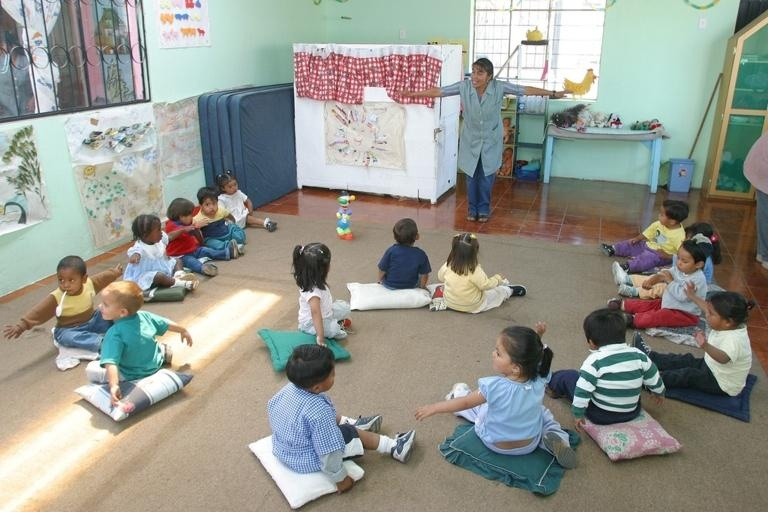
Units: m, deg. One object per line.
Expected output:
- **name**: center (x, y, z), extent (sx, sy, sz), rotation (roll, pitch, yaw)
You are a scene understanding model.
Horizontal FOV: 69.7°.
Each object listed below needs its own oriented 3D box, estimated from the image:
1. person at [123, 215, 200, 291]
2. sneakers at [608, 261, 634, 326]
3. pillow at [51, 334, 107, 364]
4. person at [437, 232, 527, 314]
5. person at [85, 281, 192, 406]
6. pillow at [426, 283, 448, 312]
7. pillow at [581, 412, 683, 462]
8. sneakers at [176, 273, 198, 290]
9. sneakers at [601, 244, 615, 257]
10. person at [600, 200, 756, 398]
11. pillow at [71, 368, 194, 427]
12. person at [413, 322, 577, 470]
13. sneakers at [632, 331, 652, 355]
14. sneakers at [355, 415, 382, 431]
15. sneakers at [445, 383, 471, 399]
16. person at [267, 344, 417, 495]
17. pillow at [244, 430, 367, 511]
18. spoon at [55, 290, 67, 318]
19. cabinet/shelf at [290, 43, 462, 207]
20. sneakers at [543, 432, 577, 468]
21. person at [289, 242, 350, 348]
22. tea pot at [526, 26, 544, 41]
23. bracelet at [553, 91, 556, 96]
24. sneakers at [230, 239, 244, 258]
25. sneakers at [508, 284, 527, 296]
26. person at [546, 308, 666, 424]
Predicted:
- **person**: center (-1.986, 0.000, 4.929), extent (0.640, 0.699, 0.607), rotation (0, 16, -19)
- **sneakers**: center (2.002, 0.327, 4.677), extent (0.214, 0.475, 0.156), rotation (-17, 28, -6)
- **pillow**: center (-2.381, 0.684, 4.251), extent (0.218, 0.066, 0.217), rotation (8, 10, 10)
- **person**: center (0.845, 0.095, 4.984), extent (0.564, 0.714, 0.840), rotation (11, 20, 34)
- **person**: center (-1.861, 0.550, 3.931), extent (0.564, 0.747, 0.933), rotation (5, 21, 1)
- **pillow**: center (0.466, 0.364, 4.878), extent (0.184, 0.061, 0.200), rotation (-2, 35, 0)
- **pillow**: center (1.600, 1.160, 3.534), extent (0.327, 0.088, 0.324), rotation (-6, 20, -13)
- **sneakers**: center (-1.822, 0.223, 5.100), extent (0.113, 0.109, 0.255), rotation (15, 1, -43)
- **sneakers**: center (2.304, -0.064, 5.677), extent (0.076, 0.060, 0.178), rotation (-19, 10, 12)
- **person**: center (2.144, 0.299, 4.268), extent (1.177, 1.219, 0.861), rotation (10, 38, 18)
- **pillow**: center (-1.672, 0.934, 3.870), extent (0.432, 0.115, 0.434), rotation (15, 20, 35)
- **person**: center (0.683, 0.817, 3.631), extent (0.934, 0.687, 0.919), rotation (-13, 21, -13)
- **sneakers**: center (1.963, 0.664, 4.226), extent (0.114, 0.097, 0.279), rotation (-7, 38, 14)
- **sneakers**: center (-0.099, 1.098, 3.673), extent (0.208, 0.097, 0.075), rotation (-10, 2, -18)
- **sneakers**: center (0.515, 0.925, 3.833), extent (0.137, 0.064, 0.116), rotation (-19, 23, -32)
- **person**: center (-0.279, 0.963, 3.528), extent (0.958, 0.758, 0.653), rotation (-1, 7, -35)
- **pillow**: center (-0.452, 1.284, 3.334), extent (0.395, 0.099, 0.419), rotation (-17, 36, -27)
- **spoon**: center (-2.463, 0.367, 4.200), extent (0.048, 0.238, 0.037), rotation (8, -2, -9)
- **cabinet/shelf**: center (-0.092, -1.709, 7.085), extent (1.993, 1.814, 1.072), rotation (5, 23, 16)
- **sneakers**: center (1.092, 1.204, 3.468), extent (0.138, 0.093, 0.256), rotation (-42, 72, -6)
- **person**: center (-0.488, 0.261, 4.325), extent (0.471, 0.758, 0.757), rotation (6, 23, 0)
- **tea pot**: center (2.193, -3.199, 8.033), extent (0.189, 0.233, 0.109), rotation (10, 16, 15)
- **bracelet**: center (1.942, -1.857, 6.326), extent (0.048, 0.046, 0.015), rotation (11, -21, 10)
- **sneakers**: center (-1.519, -0.067, 5.674), extent (0.092, 0.070, 0.212), rotation (-5, 10, 6)
- **sneakers**: center (1.203, 0.320, 4.990), extent (0.184, 0.067, 0.071), rotation (0, 13, 3)
- **person**: center (1.488, 0.704, 3.860), extent (0.666, 0.743, 0.917), rotation (-9, 11, -11)
